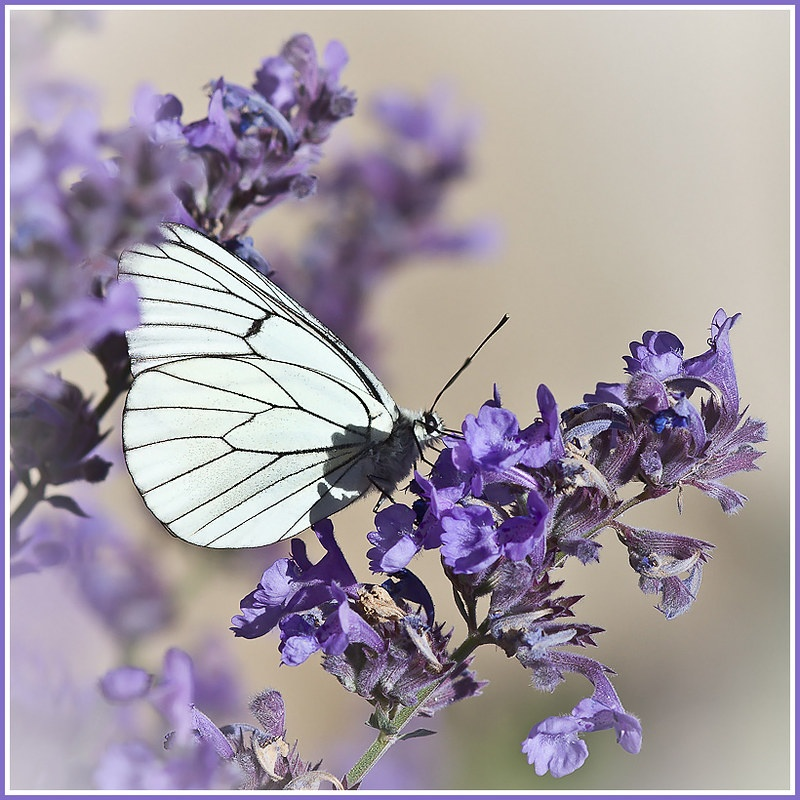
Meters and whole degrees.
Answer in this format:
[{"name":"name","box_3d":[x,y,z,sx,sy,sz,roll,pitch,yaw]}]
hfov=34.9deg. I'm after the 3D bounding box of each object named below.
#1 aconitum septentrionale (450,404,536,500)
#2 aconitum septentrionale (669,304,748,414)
[{"name":"aconitum septentrionale","box_3d":[0.281,0.145,4.108,0.250,0.291,0.297,-12,-65,5]},{"name":"aconitum septentrionale","box_3d":[0.985,-0.135,4.192,0.246,0.201,0.278,4,-65,-2]}]
